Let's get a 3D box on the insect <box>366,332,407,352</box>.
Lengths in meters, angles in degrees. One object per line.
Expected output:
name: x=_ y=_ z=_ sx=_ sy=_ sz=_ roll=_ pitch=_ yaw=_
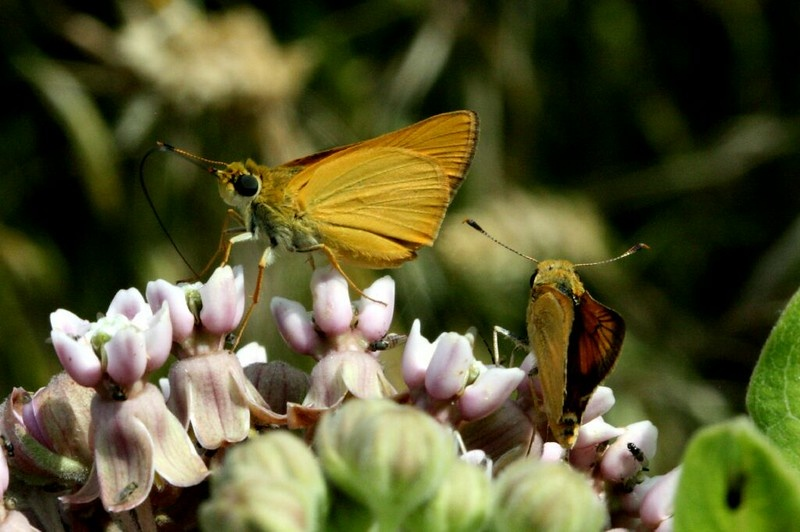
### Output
insect: x=-0.037 y=0.227 z=3.491 sx=0.081 sy=0.065 sz=0.027 roll=-15 pitch=29 yaw=-1

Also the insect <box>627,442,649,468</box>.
insect: x=0.708 y=0.562 z=3.364 sx=0.053 sy=0.072 sz=0.021 roll=-40 pitch=11 yaw=-36
